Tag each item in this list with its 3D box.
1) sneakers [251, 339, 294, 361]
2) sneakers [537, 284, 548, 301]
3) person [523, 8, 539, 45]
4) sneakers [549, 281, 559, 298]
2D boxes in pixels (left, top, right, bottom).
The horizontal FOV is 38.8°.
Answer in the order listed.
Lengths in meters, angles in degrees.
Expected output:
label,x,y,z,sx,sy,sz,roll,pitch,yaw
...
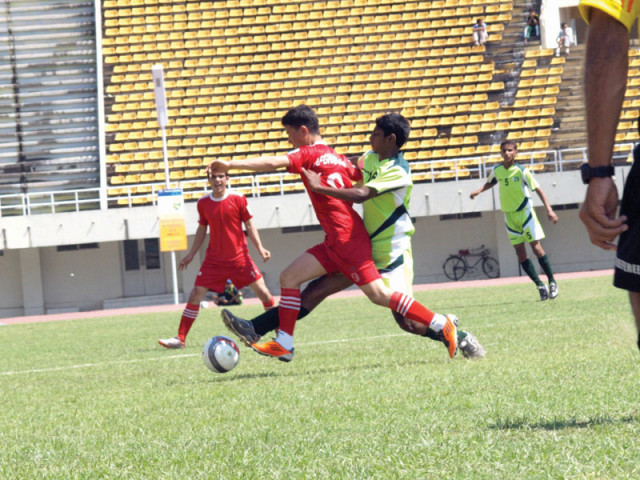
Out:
label,x,y,z,sx,sy,sz,roll,pitch,yaw
sneakers,-0.495,1.143,9.535,0.478,0.227,0.194,21,-10,-5
sneakers,3.297,0.798,13.765,0.141,0.324,0.104,-8,4,-40
person,6.758,-6.907,29.556,0.395,0.352,1.188,2,-39,14
sneakers,3.460,0.780,13.700,0.096,0.135,0.294,-6,-27,10
